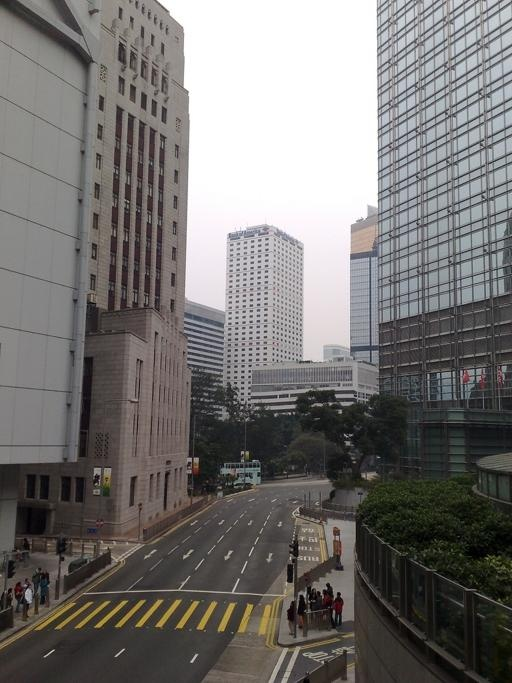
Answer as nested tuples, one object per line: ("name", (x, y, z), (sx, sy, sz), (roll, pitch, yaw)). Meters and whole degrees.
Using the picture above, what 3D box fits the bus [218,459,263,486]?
("bus", (-2.391, 24.723, 111.526), (9.338, 5.803, 3.457), (10, -15, -33))

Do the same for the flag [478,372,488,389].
("flag", (24.965, 4.399, 65.497), (0.369, 1.937, 1.230), (2, -9, -22))

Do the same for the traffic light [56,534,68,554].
("traffic light", (-11.515, 12.236, 35.150), (0.445, 1.124, 2.274), (1, -10, -19))
